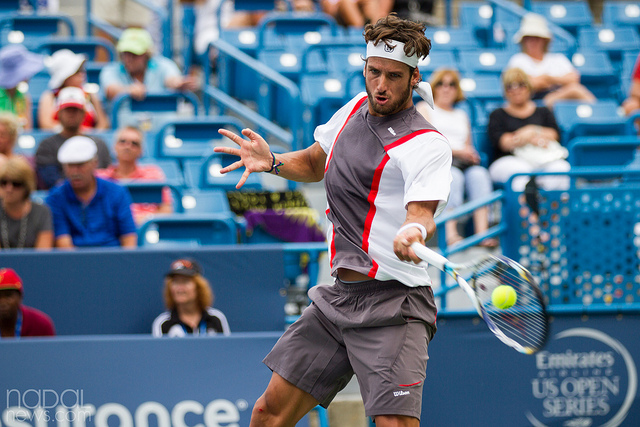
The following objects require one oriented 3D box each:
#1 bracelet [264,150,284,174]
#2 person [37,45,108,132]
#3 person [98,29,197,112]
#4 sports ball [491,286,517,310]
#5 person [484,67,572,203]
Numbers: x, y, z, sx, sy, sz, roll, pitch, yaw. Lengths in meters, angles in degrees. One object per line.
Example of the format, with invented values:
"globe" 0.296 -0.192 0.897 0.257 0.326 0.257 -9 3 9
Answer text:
"bracelet" -0.398 -0.444 11.500 0.139 0.139 0.122 11 20 -30
"person" -2.788 -1.056 14.835 0.620 1.600 0.601 -3 -12 -10
"person" -2.096 -1.702 15.569 1.086 1.007 0.725 0 -1 -11
"sports ball" 1.581 0.738 11.052 0.177 0.190 0.188 20 -20 8
"person" 2.334 -0.679 14.465 0.793 1.927 0.993 -7 5 -9
